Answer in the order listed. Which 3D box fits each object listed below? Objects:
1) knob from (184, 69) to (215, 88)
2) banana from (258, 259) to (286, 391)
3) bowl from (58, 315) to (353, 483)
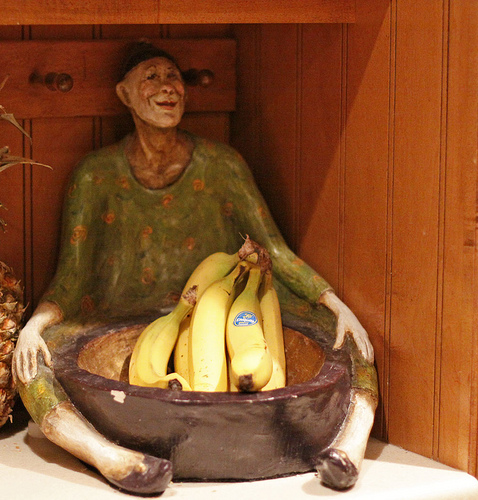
[{"bbox_3d":[-0.106,-0.461,2.094,0.060,0.054,0.065,-3,8,-31],"label":"knob"},{"bbox_3d":[0.071,0.167,1.740,0.066,0.287,0.095,-2,-26,-4],"label":"banana"},{"bbox_3d":[0.017,0.317,1.717,0.550,0.189,0.608,3,8,14],"label":"bowl"}]
